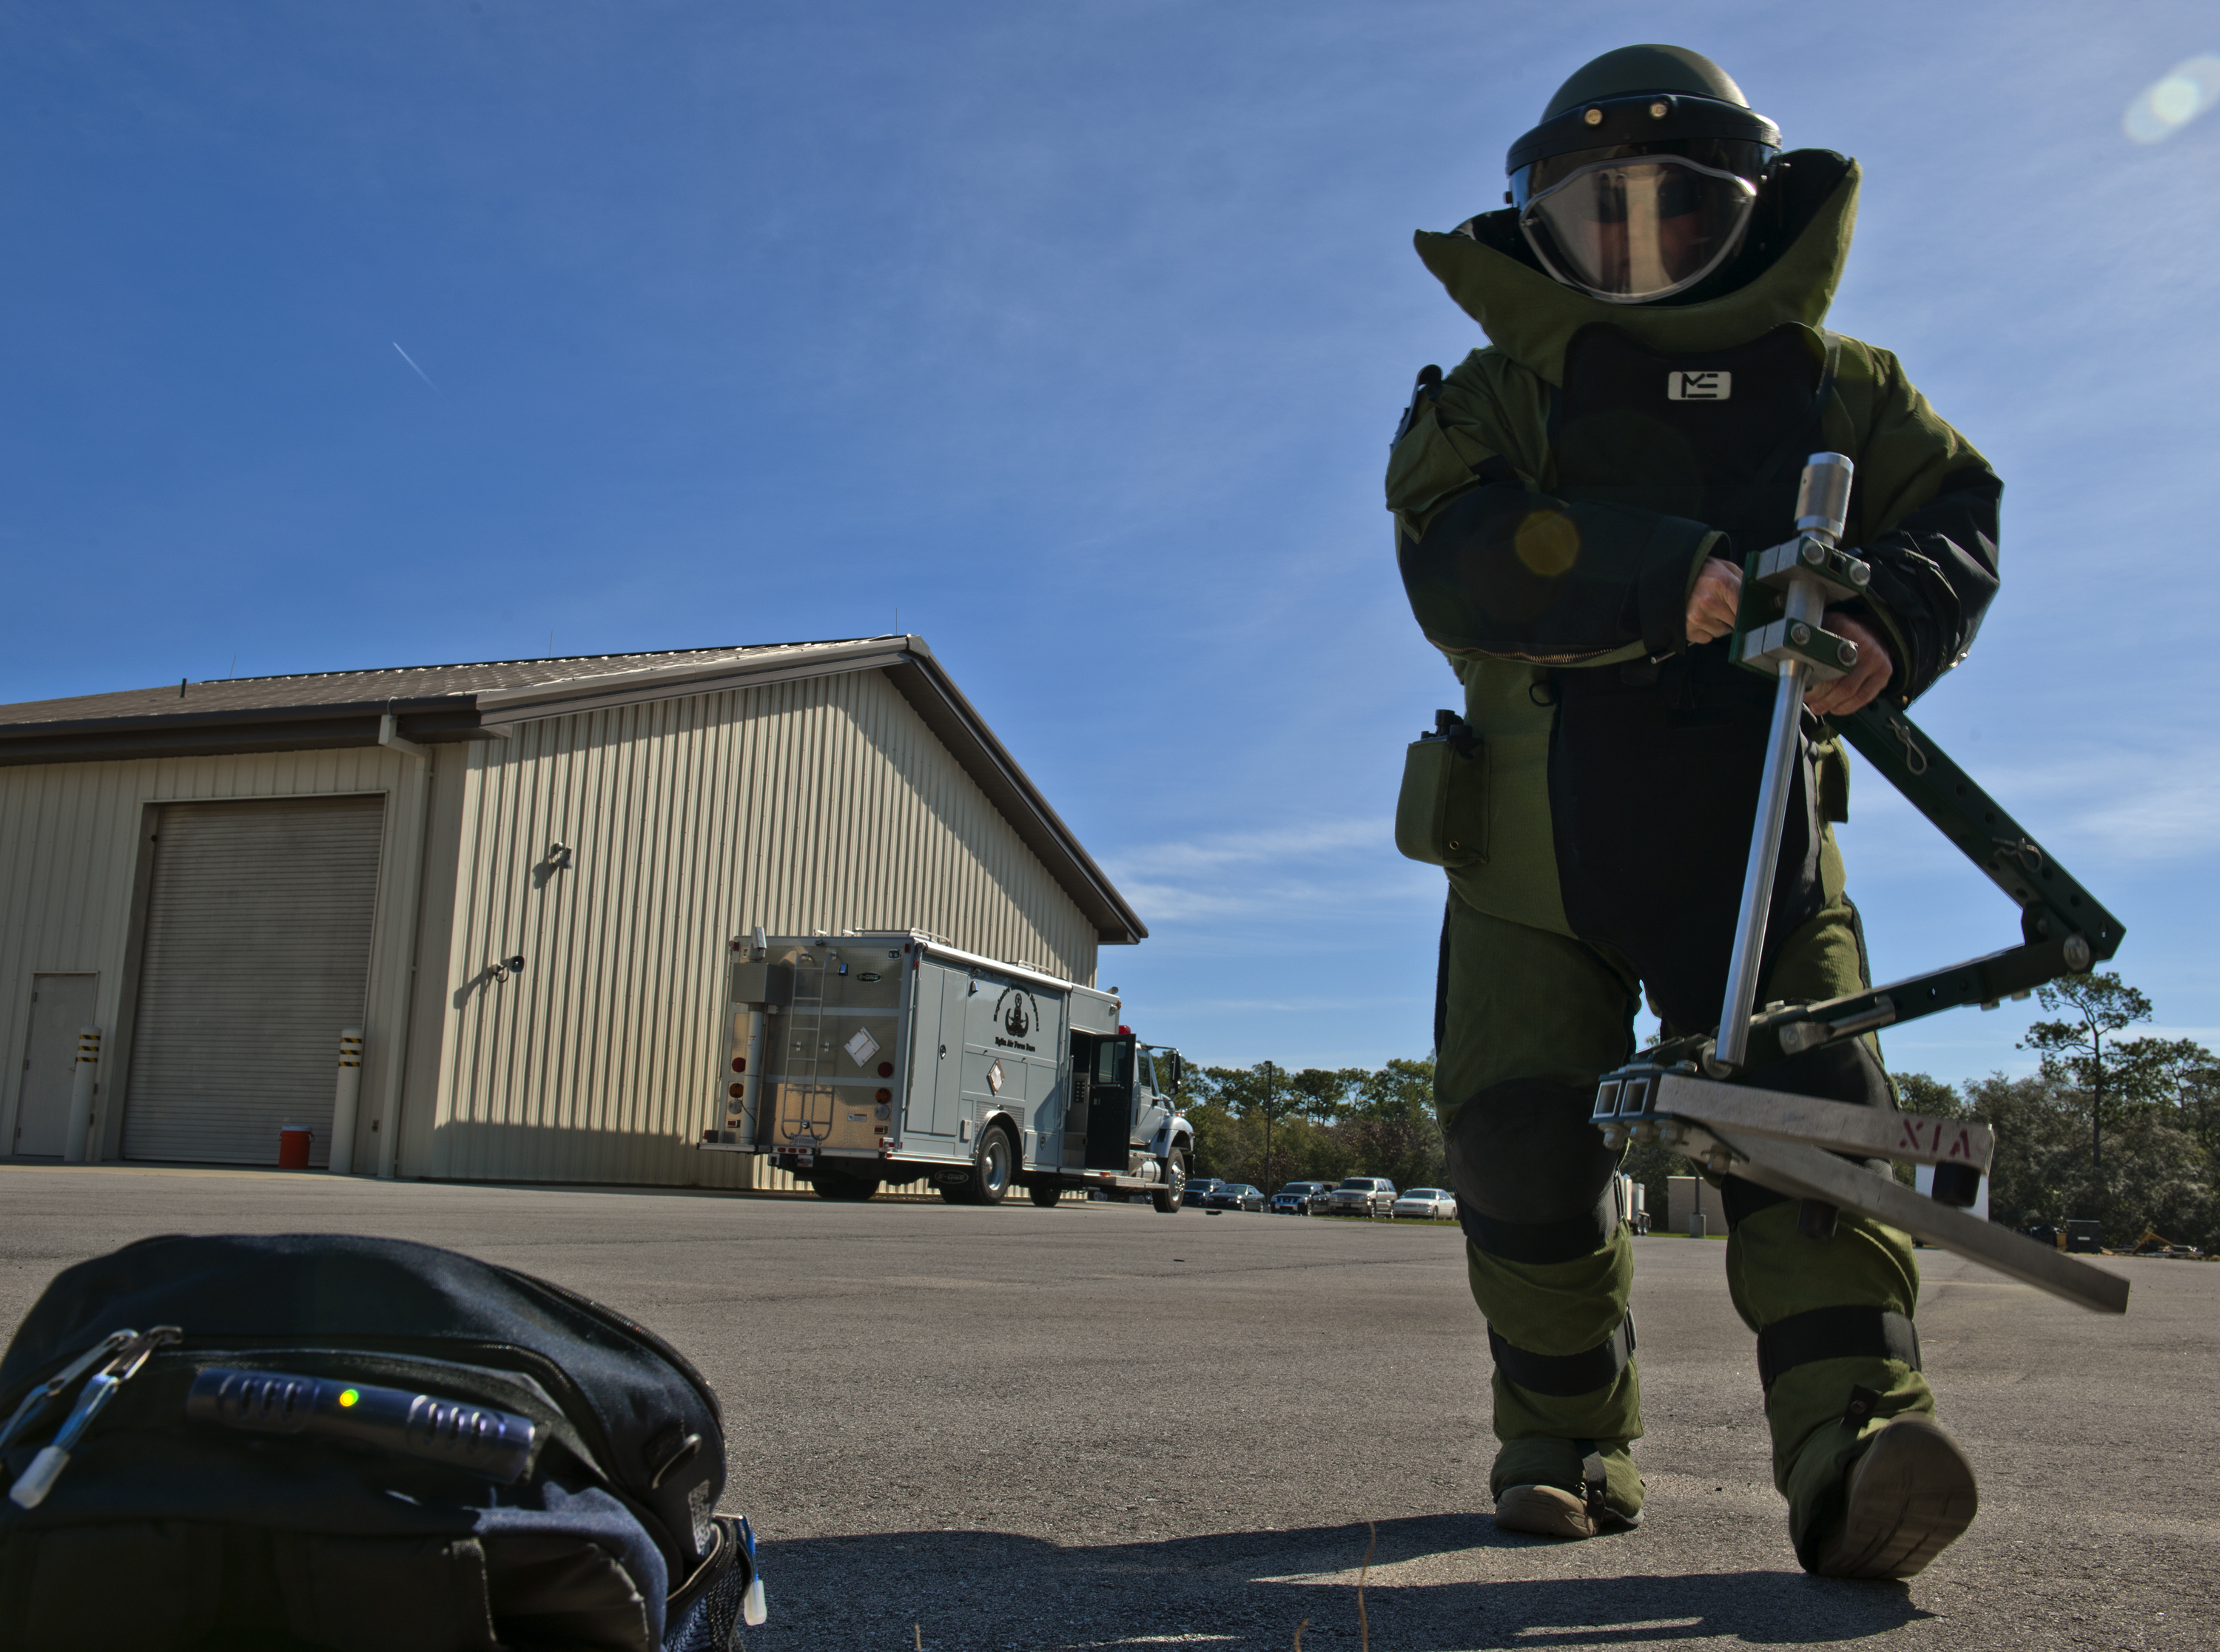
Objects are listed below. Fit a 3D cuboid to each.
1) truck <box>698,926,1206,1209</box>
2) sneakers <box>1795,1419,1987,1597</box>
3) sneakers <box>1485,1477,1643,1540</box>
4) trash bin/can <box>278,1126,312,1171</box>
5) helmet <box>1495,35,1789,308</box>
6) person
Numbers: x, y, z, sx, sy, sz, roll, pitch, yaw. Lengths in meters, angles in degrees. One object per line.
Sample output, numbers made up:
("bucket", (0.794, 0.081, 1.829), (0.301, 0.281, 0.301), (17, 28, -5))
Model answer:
("truck", (-1.596, 2.945, 18.918), (2.424, 2.746, 5.950), (-6, -14, 41))
("sneakers", (1.184, 1.022, 2.430), (0.216, 0.277, 0.260), (3, -11, 3))
("sneakers", (0.811, 1.187, 2.862), (0.289, 0.115, 0.100), (7, -11, -38))
("trash bin/can", (-8.663, 3.435, 17.065), (0.433, 0.433, 0.416), (1, -6, -10))
("helmet", (0.968, -1.204, 2.934), (0.489, 0.427, 0.509), (3, 21, 24))
("person", (0.966, -0.056, 2.761), (0.954, 2.546, 0.746), (-3, -13, 31))
